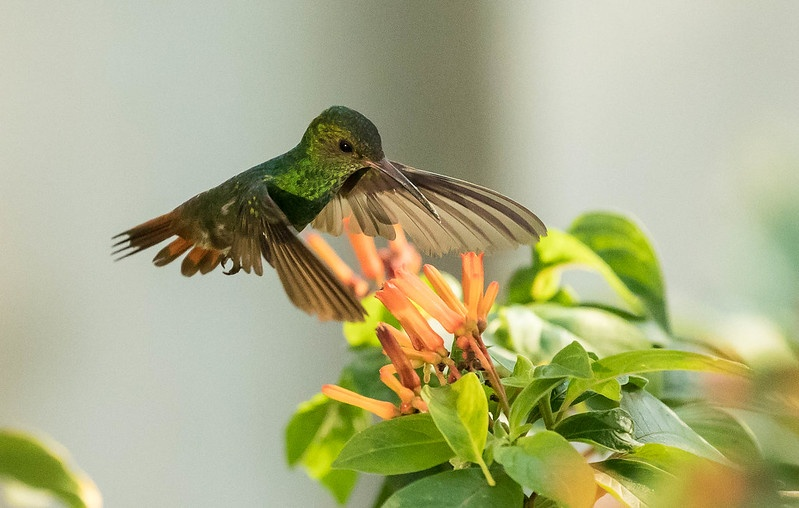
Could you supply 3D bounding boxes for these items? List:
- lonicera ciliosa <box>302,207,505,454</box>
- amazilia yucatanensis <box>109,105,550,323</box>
[{"bbox_3d":[-0.008,0.108,1.722,0.310,0.333,0.415,-11,2,-8],"label":"lonicera ciliosa"},{"bbox_3d":[-0.106,-0.082,1.977,0.895,0.365,0.795,-4,-5,31],"label":"amazilia yucatanensis"}]
